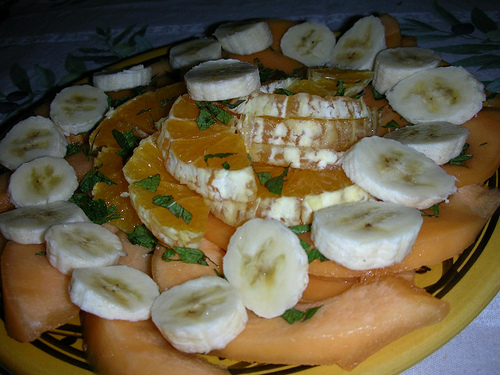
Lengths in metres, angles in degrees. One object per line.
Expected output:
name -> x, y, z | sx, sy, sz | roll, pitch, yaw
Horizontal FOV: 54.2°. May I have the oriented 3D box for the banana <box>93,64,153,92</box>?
banana -> -1.016, -0.862, 3.934 | 0.474, 0.163, 0.177 | -10, 20, -6
